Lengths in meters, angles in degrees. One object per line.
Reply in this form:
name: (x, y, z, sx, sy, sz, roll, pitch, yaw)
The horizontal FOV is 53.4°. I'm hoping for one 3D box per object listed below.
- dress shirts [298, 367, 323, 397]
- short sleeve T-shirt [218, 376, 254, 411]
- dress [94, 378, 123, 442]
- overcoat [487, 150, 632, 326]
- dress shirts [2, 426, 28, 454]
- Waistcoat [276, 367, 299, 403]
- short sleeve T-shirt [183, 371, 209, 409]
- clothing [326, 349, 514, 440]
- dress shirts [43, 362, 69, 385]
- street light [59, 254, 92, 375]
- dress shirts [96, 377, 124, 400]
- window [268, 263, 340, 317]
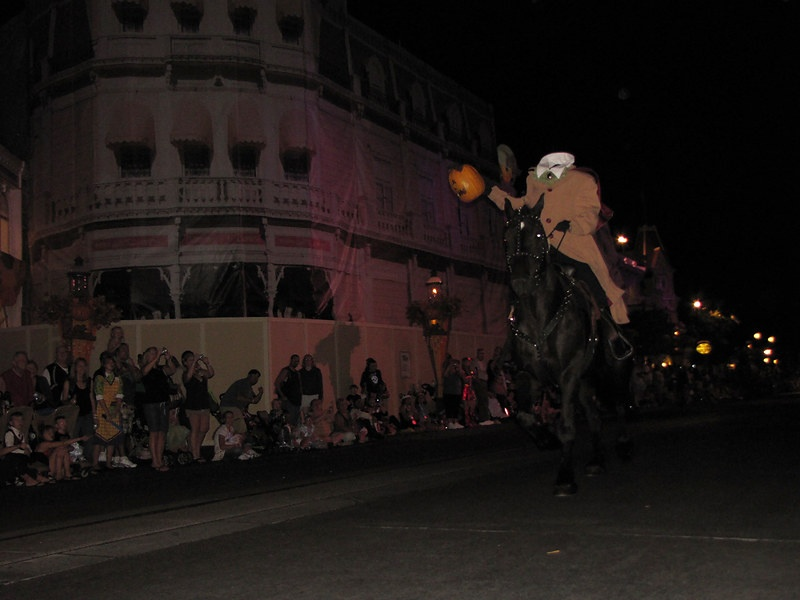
dress shirts: (-2.058, 1.937, 18.546, 0.590, 0.672, 0.371, 6, -13, -39)
short sleeve T-shirt: (-3.592, 2.114, 17.845, 0.407, 0.725, 0.643, 34, -10, 23)
dress: (-5.307, 2.088, 14.806, 0.524, 1.379, 0.332, 2, -5, -38)
overcoat: (2.554, -1.098, 11.691, 1.902, 2.094, 0.823, 7, -15, -40)
dress shirts: (-6.231, 2.334, 13.107, 0.208, 0.343, 0.365, -16, -21, 17)
Waistcoat: (-2.495, 1.978, 18.178, 0.408, 0.766, 0.736, -4, -4, 32)
short sleeve T-shirt: (-4.023, 1.829, 15.972, 0.470, 0.861, 0.630, -15, -15, 37)
clothing: (0.336, 2.868, 21.493, 3.132, 1.197, 2.346, 0, -2, -39)
dress shirts: (-6.495, 1.439, 15.321, 0.381, 0.413, 0.216, 2, -7, -35)
street light: (-7.062, 0.294, 17.800, 0.672, 2.126, 0.546, 2, -12, -19)
dress shirts: (-5.301, 1.653, 14.740, 0.192, 0.358, 0.370, -14, -15, 39)
window: (-3.211, -0.297, 27.570, 2.673, 1.892, 0.092, 2, -6, -43)
